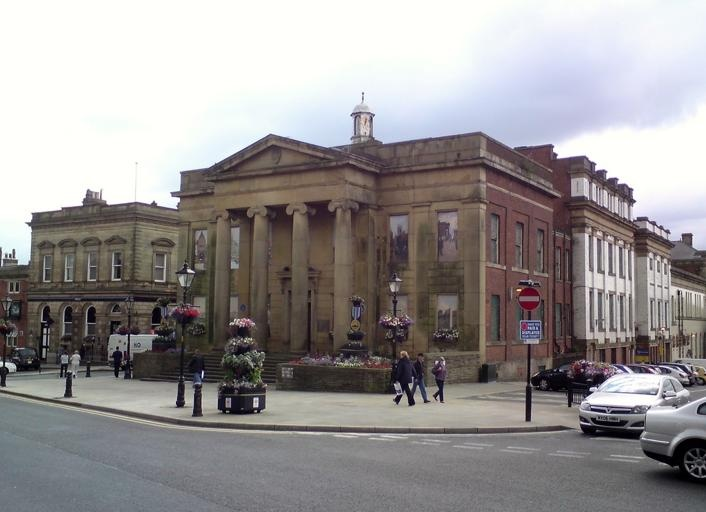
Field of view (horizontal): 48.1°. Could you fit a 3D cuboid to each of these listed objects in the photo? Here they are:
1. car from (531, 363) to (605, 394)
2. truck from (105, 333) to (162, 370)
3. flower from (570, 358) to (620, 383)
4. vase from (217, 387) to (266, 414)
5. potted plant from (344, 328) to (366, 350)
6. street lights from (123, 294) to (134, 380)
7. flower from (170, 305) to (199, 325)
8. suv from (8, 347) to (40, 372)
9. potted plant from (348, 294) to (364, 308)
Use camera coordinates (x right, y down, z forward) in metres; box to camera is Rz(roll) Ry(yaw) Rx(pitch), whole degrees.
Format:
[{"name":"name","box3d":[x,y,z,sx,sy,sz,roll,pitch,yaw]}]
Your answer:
[{"name":"car","box3d":[10.032,5.959,37.888,2.119,1.084,1.296,2,-5,30]},{"name":"truck","box3d":[-14.648,6.425,52.270,3.622,2.193,2.298,1,-7,-15]},{"name":"flower","box3d":[9.665,4.769,32.398,1.499,0.671,1.084,-1,-1,3]},{"name":"vase","box3d":[-3.945,5.102,27.854,1.584,0.915,0.627,2,-11,-11]},{"name":"potted plant","box3d":[0.068,4.188,39.155,0.866,1.044,0.914,2,-10,-9]},{"name":"street lights","box3d":[-13.289,4.390,46.751,0.613,3.831,0.551,3,-5,-27]},{"name":"flower","box3d":[-6.864,2.406,32.116,1.166,1.090,1.227,-2,-5,32]},{"name":"suv","box3d":[-23.553,7.410,56.338,2.042,1.271,1.477,-2,-6,44]},{"name":"potted plant","box3d":[0.114,2.277,39.405,0.603,0.469,0.436,5,-3,28]}]
